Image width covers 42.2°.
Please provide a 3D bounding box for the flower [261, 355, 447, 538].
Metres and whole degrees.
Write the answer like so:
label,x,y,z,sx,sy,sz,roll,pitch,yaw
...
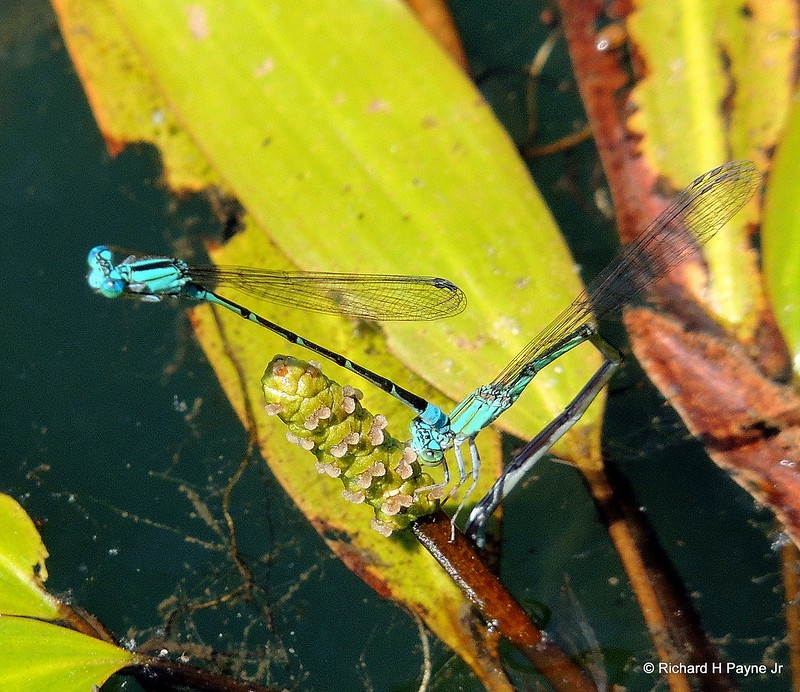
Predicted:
label,x,y,z,sx,sy,sz,roll,pitch,yaw
flower,-0.093,0.142,1.849,0.175,0.432,0.162,-36,32,1
